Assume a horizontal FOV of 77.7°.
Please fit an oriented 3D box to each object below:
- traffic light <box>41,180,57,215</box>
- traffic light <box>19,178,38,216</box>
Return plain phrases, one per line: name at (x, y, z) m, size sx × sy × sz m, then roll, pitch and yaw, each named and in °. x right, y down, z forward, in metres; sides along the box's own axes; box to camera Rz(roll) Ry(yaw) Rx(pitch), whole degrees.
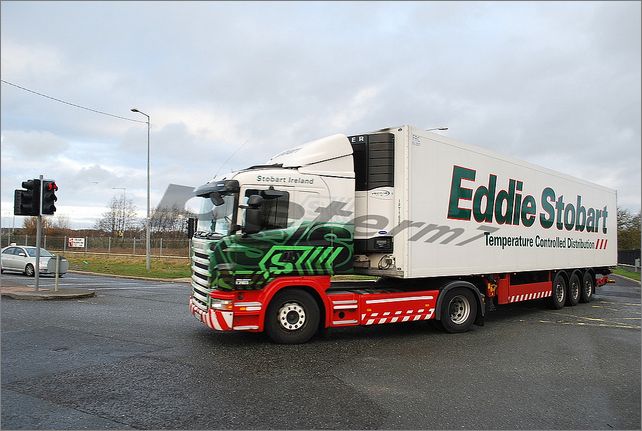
traffic light at (-10.089, -0.579, 13.048) m, size 0.442 × 1.061 × 1.262 m, roll 4°, pitch -3°, yaw -38°
traffic light at (-10.872, -0.594, 13.164) m, size 0.577 × 1.121 × 0.415 m, roll 4°, pitch -2°, yaw -37°
